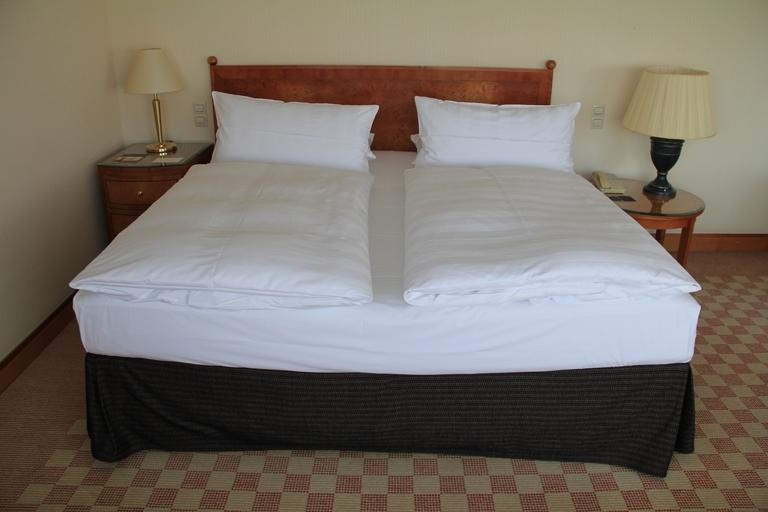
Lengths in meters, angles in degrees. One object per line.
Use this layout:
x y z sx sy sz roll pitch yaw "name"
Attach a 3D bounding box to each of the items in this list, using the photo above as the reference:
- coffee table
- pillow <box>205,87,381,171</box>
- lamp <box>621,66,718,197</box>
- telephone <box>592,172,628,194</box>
1.553 -0.221 3.388 0.473 0.474 0.447 -29 44 -26 "coffee table"
-0.576 -0.809 3.864 1.204 0.497 0.346 -4 20 -32 "pillow"
1.929 -0.878 3.900 0.608 0.759 0.611 24 44 37 "lamp"
1.561 -0.498 4.013 0.167 0.051 0.207 6 24 7 "telephone"
